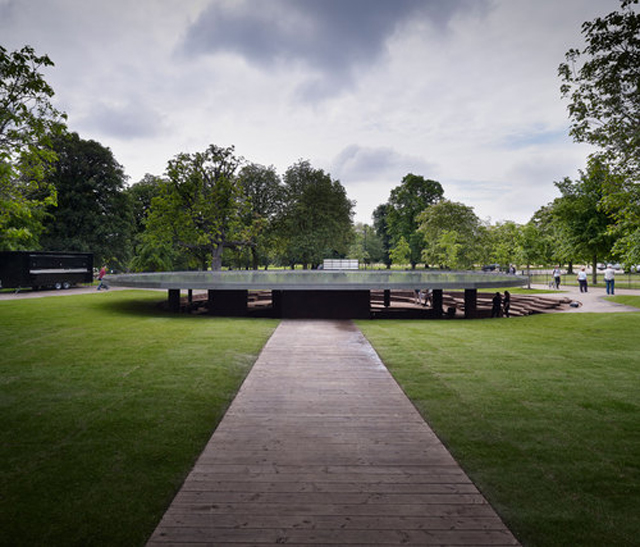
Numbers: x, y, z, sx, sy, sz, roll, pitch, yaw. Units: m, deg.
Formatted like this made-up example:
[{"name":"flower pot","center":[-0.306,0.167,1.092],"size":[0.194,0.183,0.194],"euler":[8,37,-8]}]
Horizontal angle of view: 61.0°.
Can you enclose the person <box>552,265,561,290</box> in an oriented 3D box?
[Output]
[{"name":"person","center":[15.995,0.350,36.586],"size":[0.414,1.642,3.284],"euler":[4,11,24]}]

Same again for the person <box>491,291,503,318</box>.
[{"name":"person","center":[7.969,1.420,24.469],"size":[0.401,1.319,1.263],"euler":[3,10,16]}]
